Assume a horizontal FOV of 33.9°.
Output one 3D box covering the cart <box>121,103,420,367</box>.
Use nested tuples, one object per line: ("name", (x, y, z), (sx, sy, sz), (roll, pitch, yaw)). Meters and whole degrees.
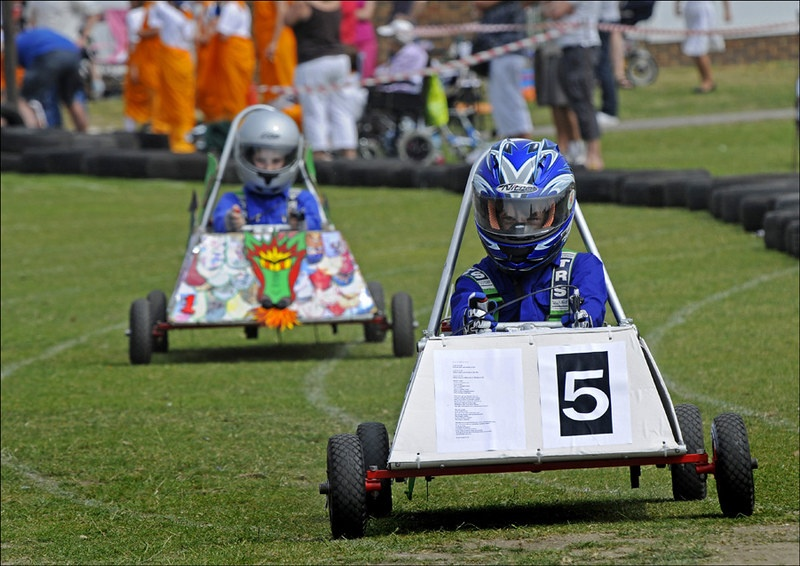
("cart", (-1.130, -0.334, 10.968), (2.170, 1.654, 2.108), (0, -1, -10))

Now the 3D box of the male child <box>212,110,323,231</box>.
("male child", (-1.064, -0.897, 10.413), (0.961, 1.049, 0.747), (-1, 30, -10))

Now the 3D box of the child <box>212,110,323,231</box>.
("child", (-1.037, -0.904, 10.405), (0.929, 1.043, 0.756), (4, 28, -2))

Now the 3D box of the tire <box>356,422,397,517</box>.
("tire", (-0.149, 1.076, 7.546), (0.182, 0.534, 0.551), (-2, 5, -6))

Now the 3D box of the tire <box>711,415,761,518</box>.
("tire", (1.913, 1.079, 7.576), (0.273, 0.527, 0.490), (-3, 12, 3))

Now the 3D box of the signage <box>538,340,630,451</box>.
("signage", (1.024, 0.661, 7.373), (0.584, 0.615, 0.052), (-3, -5, -1))

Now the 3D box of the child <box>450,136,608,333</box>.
("child", (0.720, -0.262, 7.895), (0.979, 1.086, 1.312), (-5, 15, -6))

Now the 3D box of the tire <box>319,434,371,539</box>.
("tire", (-0.300, 1.160, 7.434), (0.258, 0.474, 0.489), (-3, 23, -2))

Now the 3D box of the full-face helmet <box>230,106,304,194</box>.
("full-face helmet", (-1.066, -1.079, 10.462), (0.593, 0.606, 0.688), (-11, 34, -31))

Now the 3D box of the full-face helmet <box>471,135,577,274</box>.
("full-face helmet", (0.726, -0.452, 7.801), (0.628, 0.694, 0.775), (1, 13, 8))
